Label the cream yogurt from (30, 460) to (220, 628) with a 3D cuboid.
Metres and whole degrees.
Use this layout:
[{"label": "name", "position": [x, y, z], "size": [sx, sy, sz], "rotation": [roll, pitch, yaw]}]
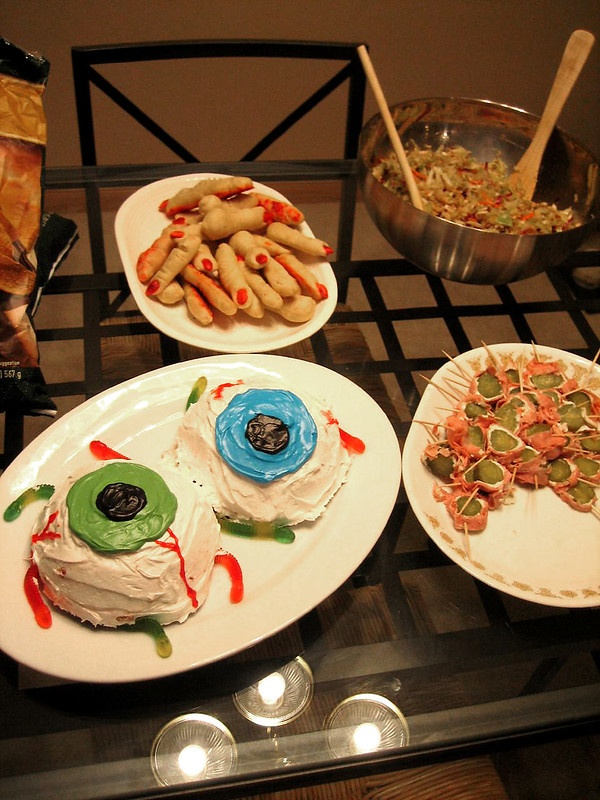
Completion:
[{"label": "cream yogurt", "position": [-0.200, 0.171, 0.790], "size": [0.213, 0.094, 0.193], "rotation": [-4, 55, -13]}]
